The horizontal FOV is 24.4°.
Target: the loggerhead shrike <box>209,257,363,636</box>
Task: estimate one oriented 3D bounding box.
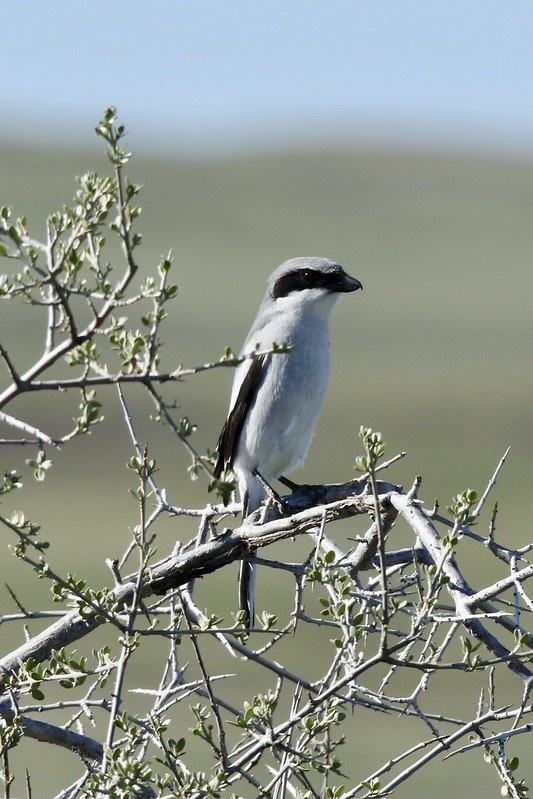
[{"bbox_3d":[0.057,-0.092,5.035,0.444,1.129,0.454,17,-18,-39],"label":"loggerhead shrike"}]
